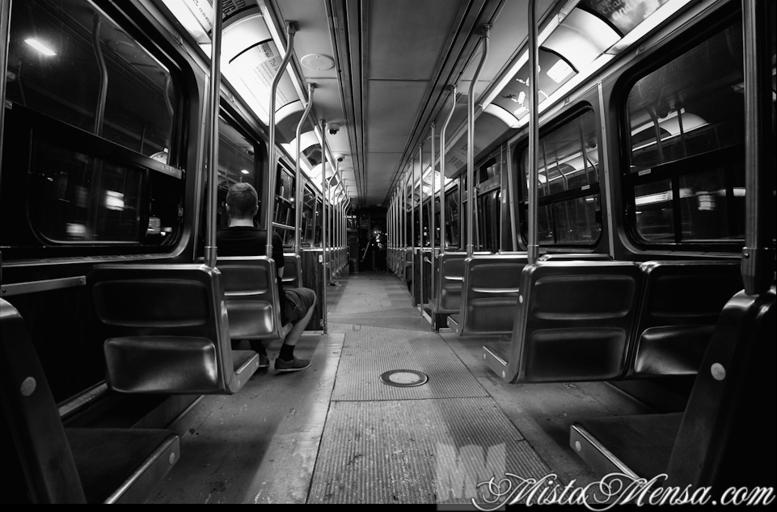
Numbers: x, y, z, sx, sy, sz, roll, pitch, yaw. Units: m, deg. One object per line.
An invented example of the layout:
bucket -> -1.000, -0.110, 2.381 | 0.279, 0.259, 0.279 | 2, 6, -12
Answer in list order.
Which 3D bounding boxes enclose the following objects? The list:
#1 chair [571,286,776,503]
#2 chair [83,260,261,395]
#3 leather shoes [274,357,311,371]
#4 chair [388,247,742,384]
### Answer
chair -> 1.765, 0.740, 2.678 | 0.825, 1.291, 1.041 | 3, -3, -12
chair -> -1.332, 0.482, 3.136 | 0.652, 0.709, 0.970 | -1, -10, 6
leather shoes -> -0.951, 1.051, 4.639 | 0.351, 0.141, 0.128 | -1, -1, -24
chair -> 1.451, 0.431, 3.424 | 1.488, 0.661, 1.122 | 1, -10, -6
